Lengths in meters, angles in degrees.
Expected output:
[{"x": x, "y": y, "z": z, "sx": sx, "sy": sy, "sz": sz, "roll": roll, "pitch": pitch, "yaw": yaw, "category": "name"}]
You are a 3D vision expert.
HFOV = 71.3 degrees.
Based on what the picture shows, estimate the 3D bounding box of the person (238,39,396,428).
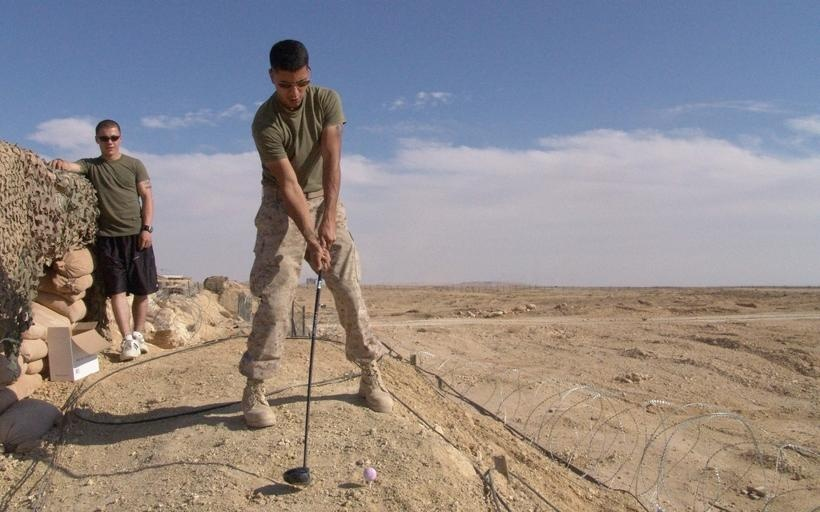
[{"x": -1.161, "y": -0.208, "z": 6.255, "sx": 1.528, "sy": 4.130, "sz": 0.683, "roll": -2, "pitch": 6, "yaw": -8, "category": "person"}]

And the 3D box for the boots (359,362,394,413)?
[{"x": -0.422, "y": 1.467, "z": 6.757, "sx": 0.300, "sy": 0.590, "sz": 0.617, "roll": -9, "pitch": 15, "yaw": -25, "category": "boots"}]

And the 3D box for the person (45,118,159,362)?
[{"x": -4.008, "y": -0.183, "z": 7.835, "sx": 0.888, "sy": 3.232, "sz": 0.478, "roll": -4, "pitch": 6, "yaw": -25, "category": "person"}]

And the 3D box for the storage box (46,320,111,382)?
[{"x": -4.289, "y": 1.232, "z": 7.464, "sx": 0.504, "sy": 0.695, "sz": 0.520, "roll": -6, "pitch": 0, "yaw": 4, "category": "storage box"}]

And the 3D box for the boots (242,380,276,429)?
[{"x": -1.693, "y": 1.609, "z": 6.357, "sx": 0.274, "sy": 0.472, "sz": 0.769, "roll": 2, "pitch": -1, "yaw": -25, "category": "boots"}]

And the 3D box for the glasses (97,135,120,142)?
[{"x": -4.065, "y": -1.565, "z": 7.694, "sx": 0.242, "sy": 0.095, "sz": 0.101, "roll": -4, "pitch": 7, "yaw": -28, "category": "glasses"}]

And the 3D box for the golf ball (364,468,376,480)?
[{"x": -0.395, "y": 2.174, "z": 5.684, "sx": 0.128, "sy": 0.126, "sz": 0.069, "roll": 6, "pitch": -9, "yaw": -23, "category": "golf ball"}]

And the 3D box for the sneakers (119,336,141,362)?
[{"x": -3.861, "y": 1.267, "z": 7.871, "sx": 0.267, "sy": 0.345, "sz": 0.179, "roll": -4, "pitch": 7, "yaw": -28, "category": "sneakers"}]
